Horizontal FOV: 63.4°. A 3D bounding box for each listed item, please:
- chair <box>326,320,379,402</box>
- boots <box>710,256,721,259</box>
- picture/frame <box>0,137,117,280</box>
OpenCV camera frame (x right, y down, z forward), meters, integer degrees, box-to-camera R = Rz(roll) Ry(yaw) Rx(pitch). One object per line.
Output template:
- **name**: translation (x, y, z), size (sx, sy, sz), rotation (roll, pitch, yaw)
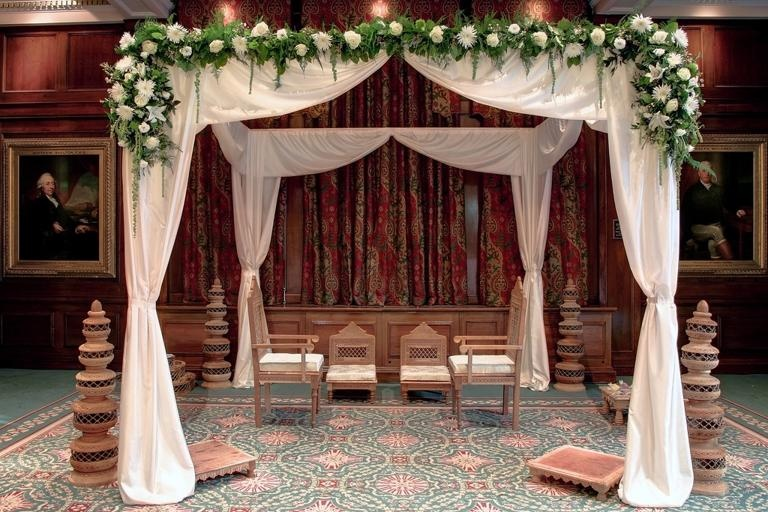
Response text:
- **chair**: translation (-0.373, 1.267, 7.629), size (0.765, 1.067, 0.853), rotation (0, -4, 1)
- **boots**: translation (4.588, 0.011, 8.645), size (0.113, 0.051, 0.025), rotation (-1, 11, -5)
- **picture/frame**: translation (-4.544, -0.659, 8.837), size (2.036, 2.178, 0.182), rotation (0, -1, 3)
